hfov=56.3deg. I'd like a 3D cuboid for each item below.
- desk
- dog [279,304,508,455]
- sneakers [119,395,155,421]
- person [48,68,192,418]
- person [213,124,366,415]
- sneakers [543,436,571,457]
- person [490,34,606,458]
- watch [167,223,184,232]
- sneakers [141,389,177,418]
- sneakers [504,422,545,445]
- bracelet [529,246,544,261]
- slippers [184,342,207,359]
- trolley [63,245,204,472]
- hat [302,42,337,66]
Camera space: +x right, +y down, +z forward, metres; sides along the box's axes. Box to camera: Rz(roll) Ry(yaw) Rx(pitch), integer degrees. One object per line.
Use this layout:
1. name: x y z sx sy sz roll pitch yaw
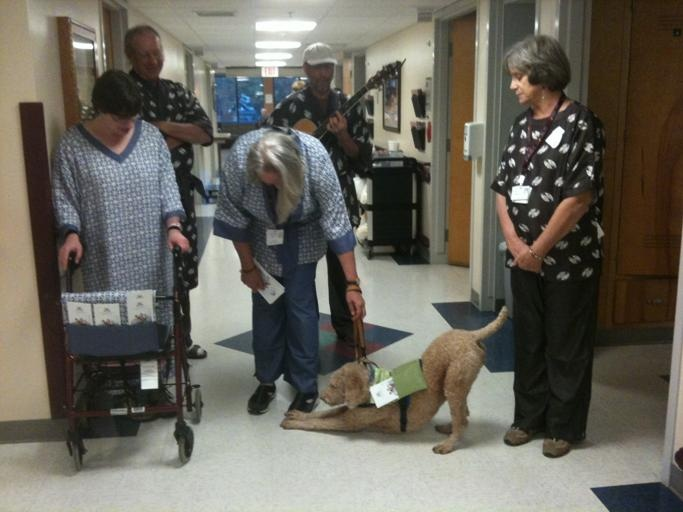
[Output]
1. desk: 0.628 -0.480 7.526 0.820 1.570 1.598 1 8 -2
2. dog: 0.153 0.632 3.652 1.420 0.966 0.514 -1 13 5
3. sneakers: -1.107 0.815 3.443 0.124 0.048 0.134 0 26 -3
4. person: -1.197 -0.056 3.492 0.606 1.792 0.607 -8 28 -24
5. person: -0.210 0.147 3.549 1.001 1.698 0.691 16 22 37
6. sneakers: 1.109 0.981 3.271 0.127 0.081 0.056 -3 6 -3
7. person: 1.054 -0.034 3.242 0.526 2.089 0.340 1 11 15
8. watch: -0.891 -0.146 3.417 0.054 0.040 0.052 -4 -8 17
9. sneakers: -1.000 0.795 3.450 0.162 0.237 0.059 3 6 0
10. sneakers: 0.991 0.941 3.446 0.236 0.112 0.086 -3 8 -23
11. bracelet: 0.960 -0.005 3.149 0.059 0.026 0.069 2 40 -47
12. slippers: -1.003 0.655 4.414 0.155 0.067 0.071 1 19 3
13. trolley: -1.178 0.519 3.449 0.707 1.028 1.085 -3 3 -5
14. hat: -0.163 -1.346 4.265 0.137 0.117 0.195 -3 21 -8
